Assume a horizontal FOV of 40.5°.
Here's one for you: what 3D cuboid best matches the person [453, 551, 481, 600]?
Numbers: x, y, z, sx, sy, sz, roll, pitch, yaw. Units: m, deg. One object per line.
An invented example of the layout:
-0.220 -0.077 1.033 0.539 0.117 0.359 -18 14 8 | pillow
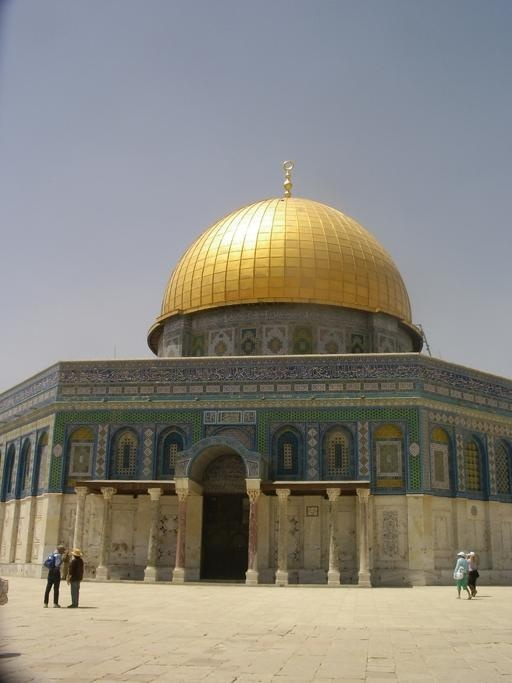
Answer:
5.058 5.628 16.721 0.529 1.000 2.228 -6 -17 15 | person
